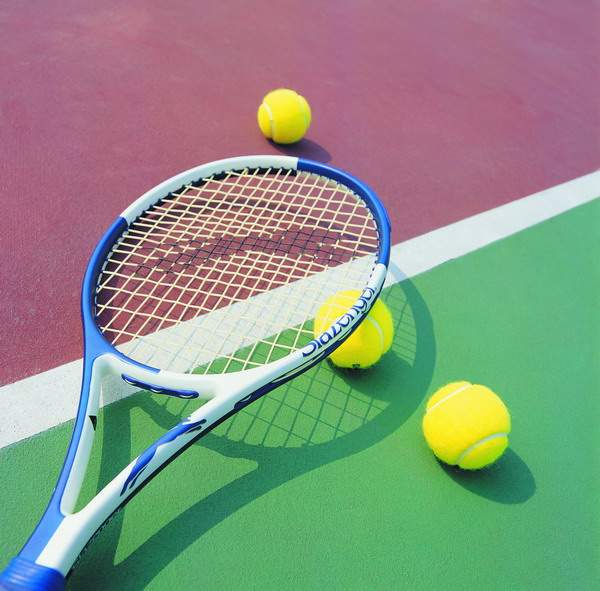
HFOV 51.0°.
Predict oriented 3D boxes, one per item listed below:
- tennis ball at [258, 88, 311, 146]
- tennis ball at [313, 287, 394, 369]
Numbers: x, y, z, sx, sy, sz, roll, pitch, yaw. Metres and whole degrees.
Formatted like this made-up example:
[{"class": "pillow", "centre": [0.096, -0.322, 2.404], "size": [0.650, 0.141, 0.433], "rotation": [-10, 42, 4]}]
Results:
[{"class": "tennis ball", "centre": [-0.107, -1.045, 3.744], "size": [0.299, 0.328, 0.314], "rotation": [-2, -6, 0]}, {"class": "tennis ball", "centre": [0.242, 0.160, 2.751], "size": [0.306, 0.335, 0.321], "rotation": [-5, -6, 0]}]
